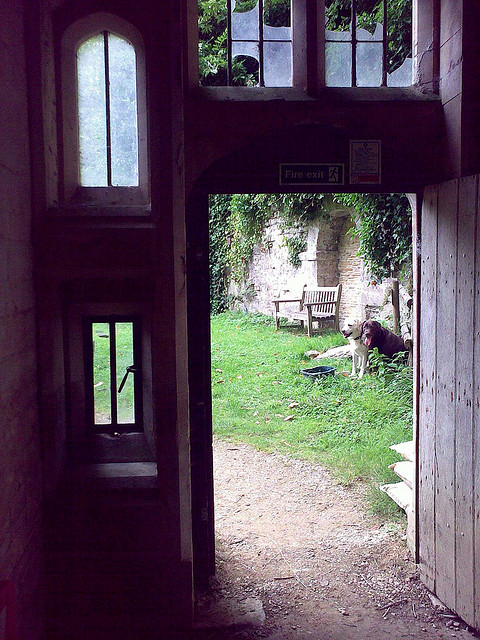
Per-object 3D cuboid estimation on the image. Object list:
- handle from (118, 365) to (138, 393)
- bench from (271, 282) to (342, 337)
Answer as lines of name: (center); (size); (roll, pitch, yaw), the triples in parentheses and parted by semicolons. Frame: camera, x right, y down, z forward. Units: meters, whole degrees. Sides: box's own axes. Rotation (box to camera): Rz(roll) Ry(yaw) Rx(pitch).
handle: (-0.572, 0.300, 3.401); (0.126, 0.148, 0.029); (2, 7, 30)
bench: (1.176, -0.177, 11.899); (0.572, 1.112, 1.420); (4, 1, -21)
